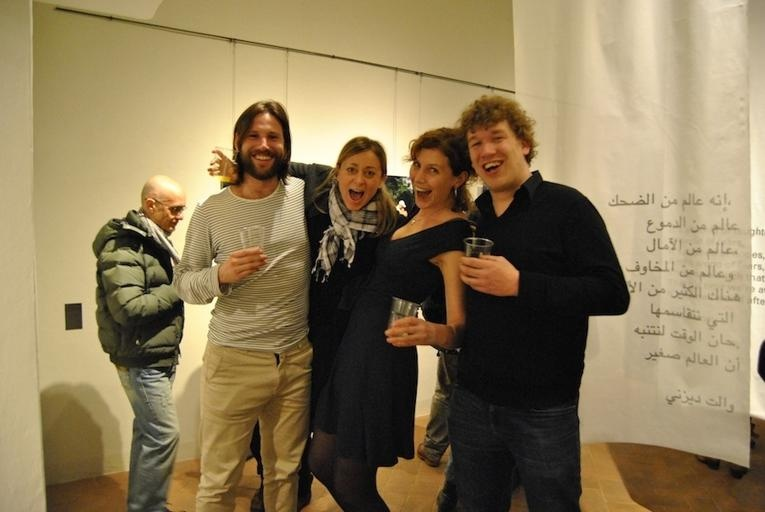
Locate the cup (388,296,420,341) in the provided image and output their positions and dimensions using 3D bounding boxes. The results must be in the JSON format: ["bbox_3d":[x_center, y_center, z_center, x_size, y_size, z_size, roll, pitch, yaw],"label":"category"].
[{"bbox_3d":[0.104,0.292,2.963,0.159,0.180,0.202,-1,5,0],"label":"cup"}]

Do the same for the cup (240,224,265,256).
[{"bbox_3d":[-0.652,-0.090,2.880,0.123,0.128,0.122,0,1,0],"label":"cup"}]

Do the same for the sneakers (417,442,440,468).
[{"bbox_3d":[0.288,1.204,3.577,0.087,0.109,0.165,6,10,-19],"label":"sneakers"}]

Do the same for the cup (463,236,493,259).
[{"bbox_3d":[0.437,-0.042,2.763,0.109,0.087,0.148,-2,5,-11],"label":"cup"}]

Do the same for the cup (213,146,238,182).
[{"bbox_3d":[-0.858,-0.481,3.134,0.124,0.187,0.095,3,7,40],"label":"cup"}]
